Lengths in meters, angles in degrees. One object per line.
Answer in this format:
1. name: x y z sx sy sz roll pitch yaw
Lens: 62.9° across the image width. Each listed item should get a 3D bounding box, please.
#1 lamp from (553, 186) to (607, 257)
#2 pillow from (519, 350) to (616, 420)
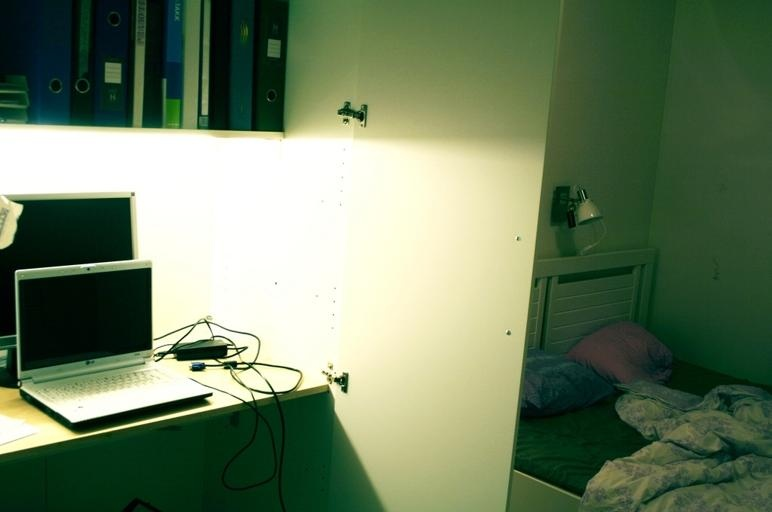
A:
1. lamp: 1.082 -0.201 3.552 0.253 0.398 0.493 3 11 21
2. pillow: 0.872 0.622 3.103 0.509 0.146 0.508 -7 15 -21
